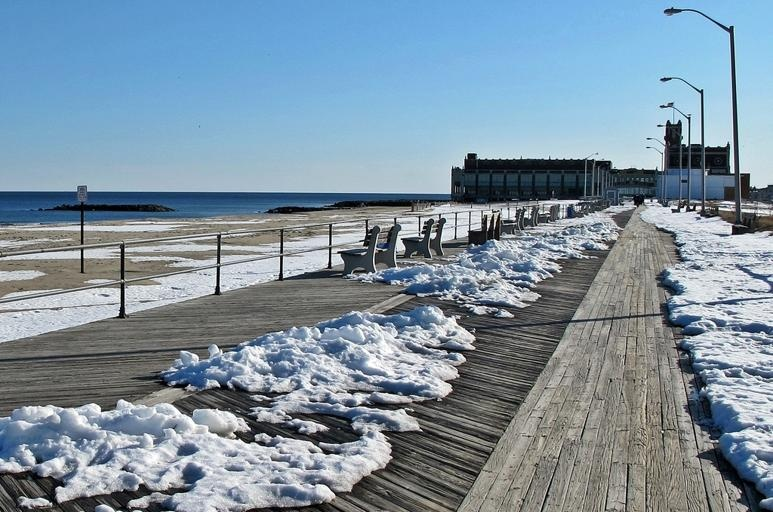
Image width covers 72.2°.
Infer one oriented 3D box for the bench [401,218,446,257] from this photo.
[{"bbox_3d":[1.101,-0.533,15.040,0.987,0.908,1.636,-1,5,15],"label":"bench"}]
